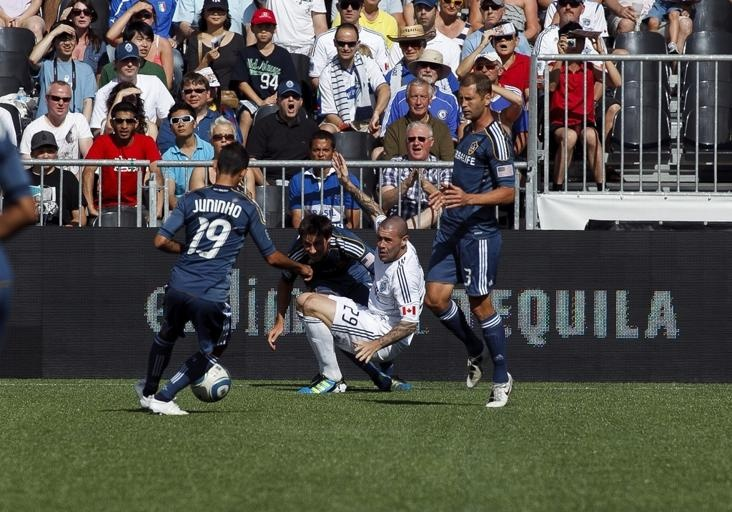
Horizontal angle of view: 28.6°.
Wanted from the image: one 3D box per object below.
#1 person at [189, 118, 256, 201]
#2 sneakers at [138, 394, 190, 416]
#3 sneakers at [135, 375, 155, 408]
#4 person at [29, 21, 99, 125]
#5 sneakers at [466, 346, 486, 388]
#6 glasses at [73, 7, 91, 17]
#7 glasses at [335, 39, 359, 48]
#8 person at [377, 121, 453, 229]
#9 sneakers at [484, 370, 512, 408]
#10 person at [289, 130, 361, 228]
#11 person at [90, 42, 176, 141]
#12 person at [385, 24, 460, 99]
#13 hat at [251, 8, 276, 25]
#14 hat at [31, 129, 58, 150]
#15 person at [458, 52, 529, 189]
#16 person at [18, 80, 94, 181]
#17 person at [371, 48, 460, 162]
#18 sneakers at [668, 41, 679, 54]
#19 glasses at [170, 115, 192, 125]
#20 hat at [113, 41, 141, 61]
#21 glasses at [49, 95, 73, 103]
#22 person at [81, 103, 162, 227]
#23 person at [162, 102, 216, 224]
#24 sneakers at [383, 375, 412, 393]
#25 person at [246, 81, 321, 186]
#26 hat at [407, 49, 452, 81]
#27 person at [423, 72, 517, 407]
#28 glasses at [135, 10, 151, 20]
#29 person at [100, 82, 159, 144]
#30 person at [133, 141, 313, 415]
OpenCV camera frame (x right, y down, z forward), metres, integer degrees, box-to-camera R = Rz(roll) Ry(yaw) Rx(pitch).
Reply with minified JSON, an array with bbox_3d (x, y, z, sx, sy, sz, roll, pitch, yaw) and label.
[{"bbox_3d":[-1.729,-1.205,15.588,0.492,0.595,1.359,8,25,-27],"label":"person"},{"bbox_3d":[-1.826,1.345,13.050,0.469,0.240,0.176,11,39,-20],"label":"sneakers"},{"bbox_3d":[-2.048,1.254,13.164,0.114,0.336,0.140,0,-34,-26],"label":"sneakers"},{"bbox_3d":[-3.756,-1.971,17.833,0.791,1.869,0.558,2,-15,-16],"label":"person"},{"bbox_3d":[1.084,1.107,13.969,0.169,0.435,0.140,2,16,-5],"label":"sneakers"},{"bbox_3d":[-3.705,-3.187,18.609,0.238,0.097,0.134,0,4,-11],"label":"glasses"},{"bbox_3d":[-0.224,-2.560,17.242,0.279,0.102,0.188,1,4,-7],"label":"glasses"},{"bbox_3d":[0.549,-0.814,15.186,0.761,1.220,0.810,-1,14,2],"label":"person"},{"bbox_3d":[1.255,1.276,13.419,0.149,0.429,0.161,16,-11,41],"label":"sneakers"},{"bbox_3d":[-0.464,-0.843,15.448,0.941,1.488,0.880,-1,5,-2],"label":"person"},{"bbox_3d":[-3.034,-1.856,18.058,0.872,1.801,0.532,1,6,15],"label":"person"},{"bbox_3d":[0.621,-2.386,17.500,1.028,0.934,0.532,-4,4,15],"label":"person"},{"bbox_3d":[-1.290,-3.062,18.257,0.309,0.241,0.471,0,10,-5],"label":"hat"},{"bbox_3d":[-3.562,-1.288,15.833,0.178,0.143,0.250,-1,-6,-14],"label":"hat"},{"bbox_3d":[1.395,-1.629,16.097,0.825,1.466,0.813,-1,14,-11],"label":"person"},{"bbox_3d":[-3.509,-1.355,16.514,0.874,1.281,0.700,-5,-2,-10],"label":"person"},{"bbox_3d":[0.597,-1.672,16.146,1.060,1.541,0.935,5,25,-4],"label":"person"},{"bbox_3d":[3.962,-2.675,18.389,0.122,0.158,0.384,0,1,2],"label":"sneakers"},{"bbox_3d":[-2.073,-1.547,16.132,0.241,0.101,0.098,1,3,-8],"label":"glasses"},{"bbox_3d":[-2.923,-2.504,17.490,0.339,0.244,0.191,4,4,39],"label":"hat"},{"bbox_3d":[-3.549,-1.819,16.529,0.251,0.088,0.142,0,4,-15],"label":"glasses"},{"bbox_3d":[-2.632,-1.022,15.659,0.859,1.353,0.866,0,1,-6],"label":"person"},{"bbox_3d":[-2.016,-1.121,16.071,0.717,1.205,0.864,-5,0,-9],"label":"person"},{"bbox_3d":[0.324,1.293,14.456,0.288,0.139,0.108,0,-4,-15],"label":"sneakers"},{"bbox_3d":[-0.883,-1.355,16.480,0.948,1.411,0.783,-1,12,-22],"label":"person"},{"bbox_3d":[0.747,-2.283,17.138,0.417,0.208,0.441,11,-20,8],"label":"hat"},{"bbox_3d":[1.003,-0.157,13.502,0.818,3.097,0.981,1,3,-7],"label":"person"},{"bbox_3d":[-2.896,-3.159,18.713,0.113,0.129,0.040,-1,-20,-5],"label":"glasses"},{"bbox_3d":[-2.712,-1.728,16.498,0.575,0.779,0.290,14,-43,-22],"label":"person"},{"bbox_3d":[-1.405,0.209,12.965,1.256,2.469,0.455,0,3,-11],"label":"person"}]
